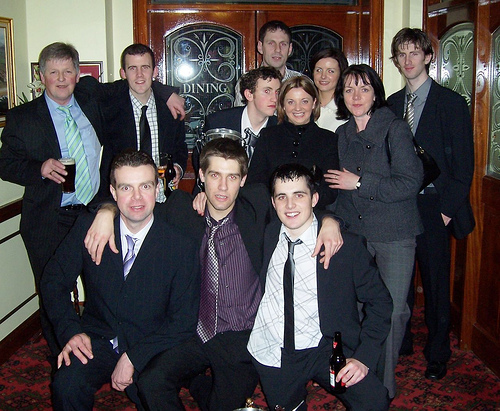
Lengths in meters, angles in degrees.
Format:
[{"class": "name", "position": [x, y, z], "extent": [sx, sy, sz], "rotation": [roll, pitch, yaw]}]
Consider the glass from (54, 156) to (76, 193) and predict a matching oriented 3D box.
[{"class": "glass", "position": [-1.205, -0.194, 2.846], "extent": [0.118, 0.239, 0.245], "rotation": [-6, 14, -24]}]

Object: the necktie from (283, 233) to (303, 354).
[{"class": "necktie", "position": [0.219, 0.510, 2.318], "extent": [0.190, 0.774, 0.055], "rotation": [18, 31, 36]}]

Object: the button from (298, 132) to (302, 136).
[{"class": "button", "position": [0.345, -0.495, 2.998], "extent": [0.027, 0.029, 0.008], "rotation": [-1, -1, 2]}]

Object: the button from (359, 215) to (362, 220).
[{"class": "button", "position": [0.710, 0.074, 2.790], "extent": [0.014, 0.016, 0.017], "rotation": [10, -4, 5]}]

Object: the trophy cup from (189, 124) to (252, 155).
[{"class": "trophy cup", "position": [-0.215, -0.538, 3.185], "extent": [0.385, 0.225, 0.353], "rotation": [1, 18, 0]}]

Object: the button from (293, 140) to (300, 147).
[{"class": "button", "position": [0.319, -0.428, 2.986], "extent": [0.046, 0.050, 0.012], "rotation": [0, -1, 11]}]

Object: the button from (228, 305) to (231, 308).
[{"class": "button", "position": [-0.115, 0.576, 2.479], "extent": [0.013, 0.013, 0.003], "rotation": [11, 10, 11]}]

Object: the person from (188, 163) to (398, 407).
[{"class": "person", "position": [0.363, 0.439, 2.312], "extent": [0.775, 1.268, 0.478], "rotation": [4, 13, 19]}]

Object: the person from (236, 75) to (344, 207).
[{"class": "person", "position": [0.303, -0.378, 2.975], "extent": [0.670, 1.102, 0.577], "rotation": [1, -8, 6]}]

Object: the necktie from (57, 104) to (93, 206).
[{"class": "necktie", "position": [-1.230, -0.356, 3.074], "extent": [0.185, 0.698, 0.184], "rotation": [-8, 23, -38]}]

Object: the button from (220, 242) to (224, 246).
[{"class": "button", "position": [-0.158, 0.219, 2.479], "extent": [0.020, 0.018, 0.008], "rotation": [-1, 12, -5]}]

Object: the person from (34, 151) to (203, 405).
[{"class": "person", "position": [-0.694, 0.376, 2.286], "extent": [0.891, 1.283, 0.506], "rotation": [-2, 12, -8]}]

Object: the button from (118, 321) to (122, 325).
[{"class": "button", "position": [-0.690, 0.621, 2.305], "extent": [0.023, 0.020, 0.010], "rotation": [8, 14, 31]}]

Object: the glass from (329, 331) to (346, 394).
[{"class": "glass", "position": [0.435, 0.799, 2.188], "extent": [0.080, 0.306, 0.102], "rotation": [7, 19, 12]}]

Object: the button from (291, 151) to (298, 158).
[{"class": "button", "position": [0.306, -0.350, 2.965], "extent": [0.047, 0.046, 0.026], "rotation": [0, 12, 1]}]

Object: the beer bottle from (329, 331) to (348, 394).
[{"class": "beer bottle", "position": [0.446, 0.764, 2.196], "extent": [0.080, 0.327, 0.087], "rotation": [-1, 3, 0]}]

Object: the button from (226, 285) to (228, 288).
[{"class": "button", "position": [-0.129, 0.457, 2.462], "extent": [0.007, 0.014, 0.007], "rotation": [13, 17, 29]}]

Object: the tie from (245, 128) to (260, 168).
[{"class": "tie", "position": [-0.002, -0.445, 3.229], "extent": [0.075, 0.207, 0.158], "rotation": [12, 12, 21]}]

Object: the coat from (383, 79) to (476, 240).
[{"class": "coat", "position": [1.355, -0.325, 3.298], "extent": [0.645, 1.310, 0.413], "rotation": [8, 35, 37]}]

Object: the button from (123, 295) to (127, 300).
[{"class": "button", "position": [-0.654, 0.480, 2.273], "extent": [0.028, 0.028, 0.007], "rotation": [0, 2, -14]}]

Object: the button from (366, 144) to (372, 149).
[{"class": "button", "position": [0.754, -0.372, 2.743], "extent": [0.022, 0.023, 0.005], "rotation": [25, 8, 23]}]

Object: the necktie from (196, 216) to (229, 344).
[{"class": "necktie", "position": [-0.237, 0.464, 2.474], "extent": [0.121, 0.660, 0.213], "rotation": [16, 24, -1]}]

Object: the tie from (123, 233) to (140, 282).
[{"class": "tie", "position": [-0.634, 0.272, 2.322], "extent": [0.075, 0.218, 0.023], "rotation": [9, -20, -4]}]

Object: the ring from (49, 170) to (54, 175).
[{"class": "ring", "position": [-1.262, -0.211, 2.762], "extent": [0.033, 0.031, 0.017], "rotation": [3, 12, 12]}]
